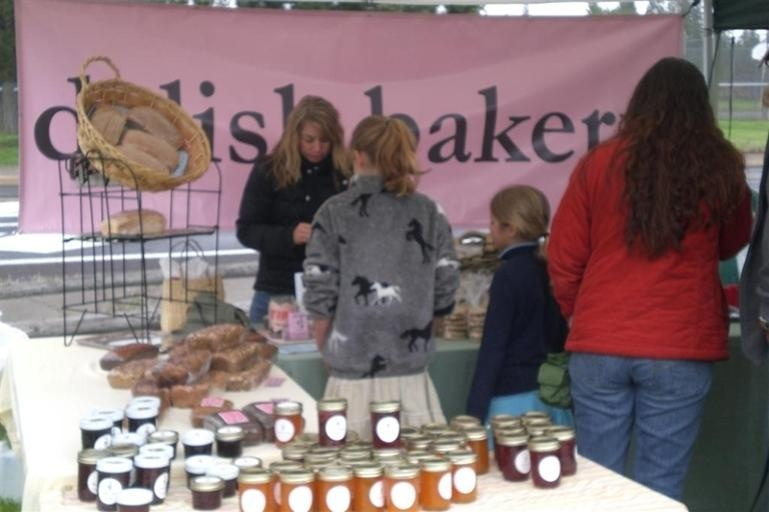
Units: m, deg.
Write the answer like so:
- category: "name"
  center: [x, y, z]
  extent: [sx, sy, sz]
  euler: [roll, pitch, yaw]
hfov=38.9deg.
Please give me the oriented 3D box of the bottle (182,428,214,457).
- category: "bottle"
  center: [-0.777, 0.772, 4.530]
  extent: [0.118, 0.096, 0.114]
  euler: [1, -3, -3]

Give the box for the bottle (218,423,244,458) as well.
- category: "bottle"
  center: [-0.649, 0.780, 4.593]
  extent: [0.119, 0.095, 0.114]
  euler: [0, -1, 0]

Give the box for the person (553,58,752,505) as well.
- category: "person"
  center: [1.227, 0.116, 5.037]
  extent: [0.902, 1.944, 0.313]
  euler: [-3, 0, 8]

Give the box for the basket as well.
- category: "basket"
  center: [-1.259, -0.686, 5.716]
  extent: [0.742, 0.724, 0.551]
  euler: [-3, 0, -27]

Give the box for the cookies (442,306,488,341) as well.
- category: "cookies"
  center: [0.462, 0.382, 6.158]
  extent: [0.206, 0.134, 0.208]
  euler: [0, 1, 35]

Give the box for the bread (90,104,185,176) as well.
- category: "bread"
  center: [-1.285, -0.628, 5.810]
  extent: [0.368, 0.162, 0.467]
  euler: [40, 12, 24]

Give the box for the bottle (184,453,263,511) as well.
- category: "bottle"
  center: [-0.658, 0.915, 4.409]
  extent: [0.178, 0.129, 0.276]
  euler: [1, -1, 43]
